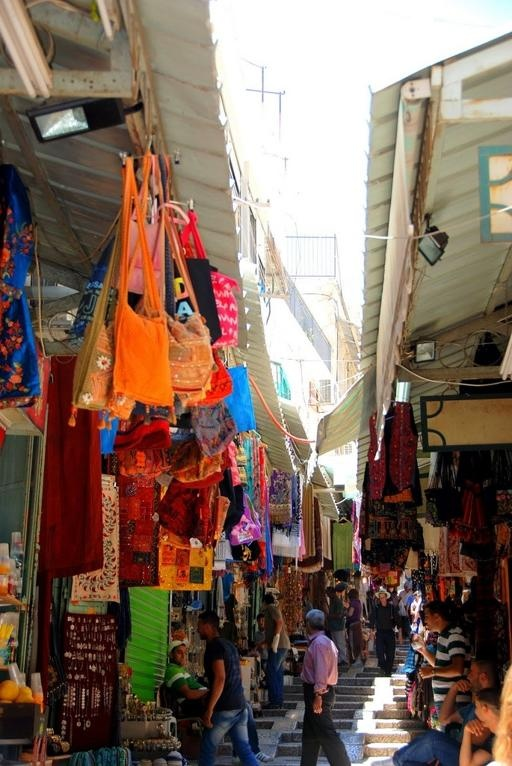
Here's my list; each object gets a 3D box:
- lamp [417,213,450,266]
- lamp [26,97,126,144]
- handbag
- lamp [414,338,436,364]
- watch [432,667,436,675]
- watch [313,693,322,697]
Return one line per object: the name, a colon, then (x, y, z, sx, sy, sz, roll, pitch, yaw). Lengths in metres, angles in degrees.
lamp: (1.049, -0.854, 4.138, 0.176, 0.308, 0.220, 8, 23, 15)
lamp: (-0.625, -0.912, 2.424, 0.254, 0.061, 0.146, -8, -31, 4)
handbag: (-0.355, -0.384, 2.540, 0.436, 1.194, 0.715, 2, -15, -1)
lamp: (1.473, -0.262, 6.130, 0.165, 0.173, 0.061, 6, 7, 28)
watch: (1.449, 2.342, 5.720, 0.017, 0.057, 0.039, 4, -4, -9)
watch: (0.556, 2.804, 6.346, 0.061, 0.034, 0.047, 0, -15, 5)
